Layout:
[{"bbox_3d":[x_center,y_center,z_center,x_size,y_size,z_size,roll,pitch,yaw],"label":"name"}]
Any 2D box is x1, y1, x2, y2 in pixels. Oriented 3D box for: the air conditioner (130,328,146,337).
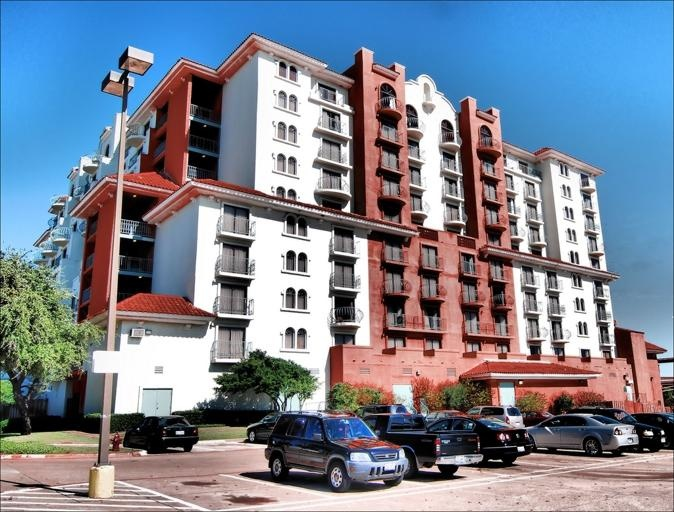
[{"bbox_3d":[-12.736,4.836,34.379,1.134,0.638,0.539,3,-4,-26],"label":"air conditioner"}]
